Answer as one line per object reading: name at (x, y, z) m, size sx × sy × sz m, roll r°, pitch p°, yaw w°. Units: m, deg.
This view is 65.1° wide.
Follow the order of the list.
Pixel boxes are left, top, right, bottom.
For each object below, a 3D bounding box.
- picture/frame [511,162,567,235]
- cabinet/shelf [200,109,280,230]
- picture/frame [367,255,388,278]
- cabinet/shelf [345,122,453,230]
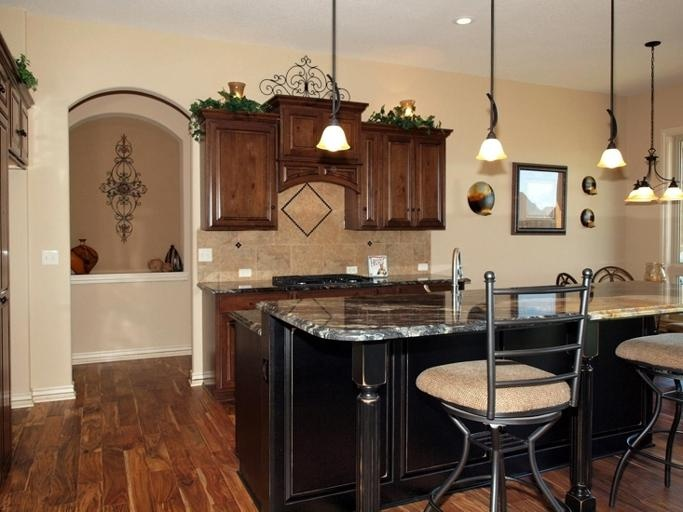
picture/frame at (2.398, -0.728, 6.560) m, size 0.909 × 0.981 × 0.070 m, roll 1°, pitch 0°, yaw -25°
cabinet/shelf at (-0.964, -0.737, 5.057) m, size 0.702 × 1.121 × 0.541 m, roll 0°, pitch -8°, yaw -19°
picture/frame at (0.386, 0.097, 5.617) m, size 0.187 × 0.201 × 0.250 m, roll -1°, pitch 7°, yaw -1°
cabinet/shelf at (0.539, -0.818, 5.395) m, size 1.079 × 1.023 × 0.415 m, roll 0°, pitch 8°, yaw -19°
